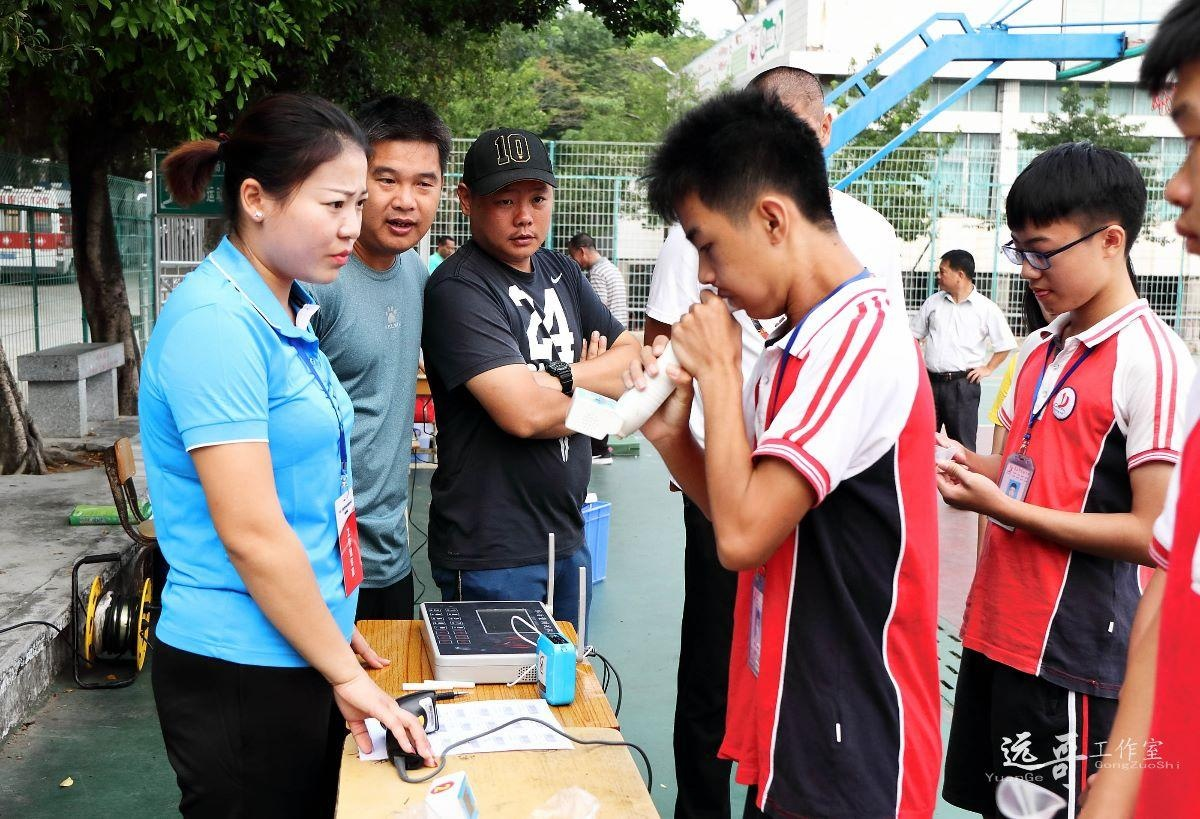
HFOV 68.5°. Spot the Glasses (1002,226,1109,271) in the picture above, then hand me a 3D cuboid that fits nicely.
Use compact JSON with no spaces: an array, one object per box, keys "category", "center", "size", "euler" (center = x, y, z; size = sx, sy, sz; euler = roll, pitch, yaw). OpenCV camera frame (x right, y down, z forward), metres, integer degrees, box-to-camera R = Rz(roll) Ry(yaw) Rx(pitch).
[{"category":"Glasses","center":[1.372,-0.481,2.641],"size":[0.148,0.045,0.145],"euler":[-20,11,-4]}]

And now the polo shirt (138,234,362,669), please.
[{"category":"polo shirt","center":[-0.847,0.110,2.185],"size":[0.517,1.078,0.299],"euler":[-6,7,-29]}]

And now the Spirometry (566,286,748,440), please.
[{"category":"Spirometry","center":[0.149,-0.127,2.476],"size":[0.434,0.447,0.101],"euler":[6,24,-5]}]

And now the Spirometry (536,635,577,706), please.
[{"category":"Spirometry","center":[-0.124,0.736,2.459],"size":[0.075,0.139,0.154],"euler":[-2,7,-16]}]

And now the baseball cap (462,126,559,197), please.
[{"category":"baseball cap","center":[-0.307,-0.856,3.041],"size":[0.225,0.174,0.296],"euler":[-11,17,-29]}]

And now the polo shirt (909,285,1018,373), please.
[{"category":"polo shirt","center":[3.466,-0.760,8.573],"size":[1.022,0.841,0.467],"euler":[14,14,41]}]
